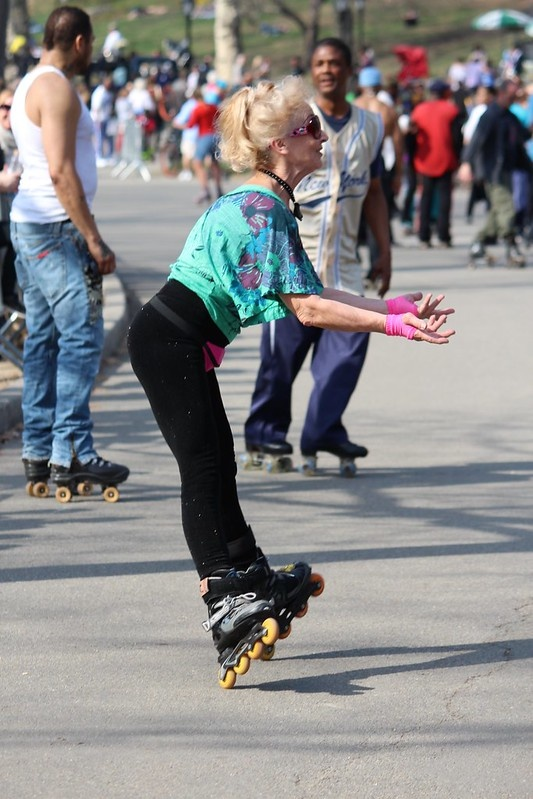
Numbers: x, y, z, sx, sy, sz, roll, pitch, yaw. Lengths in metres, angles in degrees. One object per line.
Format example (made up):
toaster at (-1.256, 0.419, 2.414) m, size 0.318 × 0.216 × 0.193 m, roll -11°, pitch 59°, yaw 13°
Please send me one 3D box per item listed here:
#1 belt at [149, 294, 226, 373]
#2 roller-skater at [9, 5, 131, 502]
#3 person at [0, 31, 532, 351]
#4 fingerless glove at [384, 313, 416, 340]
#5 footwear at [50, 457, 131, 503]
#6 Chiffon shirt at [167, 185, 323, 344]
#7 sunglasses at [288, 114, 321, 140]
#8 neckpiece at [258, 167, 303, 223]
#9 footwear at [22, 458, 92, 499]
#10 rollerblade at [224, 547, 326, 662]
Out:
belt at (-0.208, -0.180, 3.195) m, size 0.236 × 0.084 × 0.172 m, roll 40°, pitch -4°, yaw -10°
roller-skater at (-0.909, -0.510, 5.282) m, size 0.403 × 1.987 × 0.534 m, roll -5°, pitch 11°, yaw -29°
person at (0.085, -0.839, 3.609) m, size 1.197 × 1.468 × 0.628 m, roll 1°, pitch -5°, yaw 0°
fingerless glove at (0.352, -0.193, 3.035) m, size 0.079 × 0.048 × 0.057 m, roll 16°, pitch 14°, yaw 25°
footwear at (-0.815, 0.358, 5.318) m, size 0.327 × 0.201 × 0.208 m, roll -2°, pitch 2°, yaw -5°
Chiffon shirt at (-0.058, -0.431, 3.160) m, size 0.338 × 0.375 × 0.475 m, roll -9°, pitch 30°, yaw -26°
sunglasses at (0.106, -0.761, 3.216) m, size 0.080 × 0.028 × 0.066 m, roll -11°, pitch 16°, yaw -6°
neckpiece at (0.055, -0.586, 3.274) m, size 0.036 × 0.129 × 0.100 m, roll -39°, pitch 59°, yaw -21°
footwear at (-0.985, 0.385, 5.407) m, size 0.233 × 0.150 × 0.233 m, roll 0°, pitch 0°, yaw 1°
rollerblade at (-0.015, 0.543, 3.279) m, size 0.134 × 0.235 × 0.447 m, roll -9°, pitch 10°, yaw 34°
